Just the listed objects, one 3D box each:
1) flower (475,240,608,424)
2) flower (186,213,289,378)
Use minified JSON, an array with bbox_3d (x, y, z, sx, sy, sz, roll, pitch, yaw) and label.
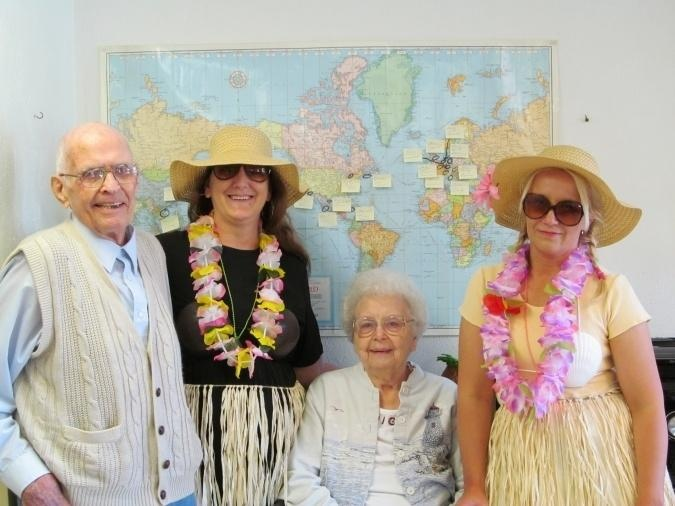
[{"bbox_3d":[0.787,0.283,3.136,0.441,0.639,0.293,4,7,18],"label":"flower"},{"bbox_3d":[-0.432,0.187,3.477,0.426,0.658,0.195,4,-15,-26],"label":"flower"}]
